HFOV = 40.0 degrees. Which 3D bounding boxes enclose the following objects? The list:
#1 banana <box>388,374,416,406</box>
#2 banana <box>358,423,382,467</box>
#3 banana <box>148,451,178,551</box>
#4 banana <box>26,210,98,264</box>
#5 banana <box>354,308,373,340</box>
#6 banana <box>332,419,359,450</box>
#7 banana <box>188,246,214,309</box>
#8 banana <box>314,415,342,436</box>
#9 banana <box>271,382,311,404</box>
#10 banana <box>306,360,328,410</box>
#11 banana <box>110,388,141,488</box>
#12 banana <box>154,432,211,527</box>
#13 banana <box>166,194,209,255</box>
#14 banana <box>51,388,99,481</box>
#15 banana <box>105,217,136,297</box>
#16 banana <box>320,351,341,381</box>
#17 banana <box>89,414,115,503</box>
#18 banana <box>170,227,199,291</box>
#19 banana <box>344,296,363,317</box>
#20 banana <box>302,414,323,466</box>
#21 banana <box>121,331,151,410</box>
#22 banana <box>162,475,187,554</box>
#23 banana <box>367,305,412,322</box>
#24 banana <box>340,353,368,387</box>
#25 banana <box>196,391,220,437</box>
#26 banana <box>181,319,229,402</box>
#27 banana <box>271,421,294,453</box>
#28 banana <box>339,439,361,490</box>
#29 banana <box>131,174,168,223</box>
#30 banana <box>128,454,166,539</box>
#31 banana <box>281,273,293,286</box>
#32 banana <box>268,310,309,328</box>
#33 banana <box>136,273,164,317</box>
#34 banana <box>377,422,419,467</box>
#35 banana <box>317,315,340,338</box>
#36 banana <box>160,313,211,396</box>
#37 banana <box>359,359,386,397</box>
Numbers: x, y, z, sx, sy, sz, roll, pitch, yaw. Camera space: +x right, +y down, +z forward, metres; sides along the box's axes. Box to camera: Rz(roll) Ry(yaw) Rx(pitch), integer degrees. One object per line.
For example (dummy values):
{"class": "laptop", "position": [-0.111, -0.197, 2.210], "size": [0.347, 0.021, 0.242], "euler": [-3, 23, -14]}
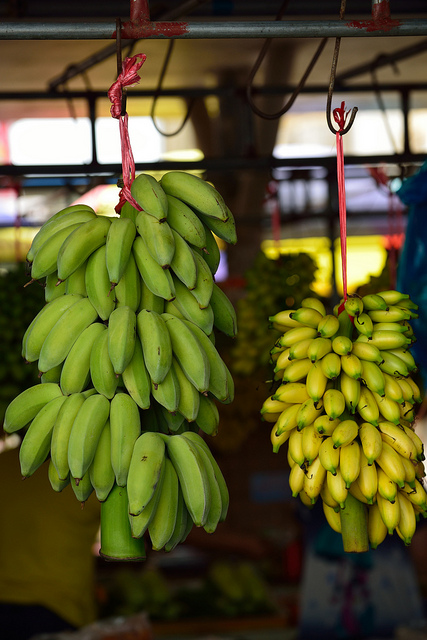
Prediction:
{"class": "banana", "position": [0.341, 0.126, 1.057], "size": [0.018, 0.064, 0.023], "euler": [-42, -1, -30]}
{"class": "banana", "position": [0.266, 0.202, 0.976], "size": [0.038, 0.028, 0.082], "euler": [-13, 40, 10]}
{"class": "banana", "position": [-0.073, 0.266, 0.875], "size": [0.042, 0.141, 0.043], "euler": [0, -16, -29]}
{"class": "banana", "position": [-0.260, -0.144, 1.034], "size": [0.134, 0.076, 0.035], "euler": [-38, 3, -27]}
{"class": "banana", "position": [0.259, 0.011, 1.016], "size": [0.021, 0.019, 0.061], "euler": [-18, 19, 7]}
{"class": "banana", "position": [0.216, 0.184, 0.951], "size": [0.030, 0.020, 0.054], "euler": [34, 50, 12]}
{"class": "banana", "position": [-0.028, -0.068, 0.945], "size": [0.031, 0.097, 0.029], "euler": [16, -36, -42]}
{"class": "banana", "position": [0.193, 0.174, 0.980], "size": [0.026, 0.024, 0.042], "euler": [-21, -2, 42]}
{"class": "banana", "position": [0.140, 0.131, 1.039], "size": [0.064, 0.021, 0.030], "euler": [-8, 10, -21]}
{"class": "banana", "position": [0.175, 0.109, 0.983], "size": [0.026, 0.080, 0.030], "euler": [-5, -31, 15]}
{"class": "banana", "position": [-0.138, 0.170, 0.838], "size": [0.042, 0.131, 0.041], "euler": [-17, -25, 25]}
{"class": "banana", "position": [-0.032, 0.238, 0.871], "size": [0.033, 0.126, 0.064], "euler": [-16, -6, -40]}
{"class": "banana", "position": [-0.032, -0.150, 0.967], "size": [0.051, 0.045, 0.165], "euler": [-2, 33, -16]}
{"class": "banana", "position": [-0.220, 0.164, 0.865], "size": [0.058, 0.130, 0.043], "euler": [30, -18, -19]}
{"class": "banana", "position": [-0.140, -0.099, 0.908], "size": [0.041, 0.125, 0.036], "euler": [4, -30, 19]}
{"class": "banana", "position": [0.197, 0.077, 0.969], "size": [0.027, 0.025, 0.046], "euler": [1, 17, 6]}
{"class": "banana", "position": [-0.164, 0.205, 0.866], "size": [0.037, 0.120, 0.039], "euler": [9, -7, -35]}
{"class": "banana", "position": [-0.057, -0.088, 0.889], "size": [0.032, 0.027, 0.090], "euler": [1, 43, -32]}
{"class": "banana", "position": [0.242, -0.022, 1.003], "size": [0.025, 0.022, 0.035], "euler": [-32, 24, 9]}
{"class": "banana", "position": [0.167, 0.204, 0.999], "size": [0.026, 0.086, 0.032], "euler": [11, 2, -34]}
{"class": "banana", "position": [-0.115, 0.072, 0.898], "size": [0.036, 0.126, 0.039], "euler": [-18, -13, 21]}
{"class": "banana", "position": [-0.073, 0.318, 0.943], "size": [0.032, 0.130, 0.050], "euler": [6, 12, 30]}
{"class": "banana", "position": [0.314, -0.008, 1.045], "size": [0.090, 0.030, 0.028], "euler": [-6, 15, 34]}
{"class": "banana", "position": [0.230, 0.082, 0.979], "size": [0.022, 0.056, 0.022], "euler": [-18, -19, -45]}
{"class": "banana", "position": [-0.013, 0.165, 1.015], "size": [0.040, 0.077, 0.026], "euler": [-27, 15, -39]}
{"class": "banana", "position": [-0.011, 0.053, 0.981], "size": [0.054, 0.154, 0.049], "euler": [-16, -9, -46]}
{"class": "banana", "position": [0.116, 0.217, 1.062], "size": [0.026, 0.068, 0.022], "euler": [4, 37, -33]}
{"class": "banana", "position": [0.219, 0.231, 0.962], "size": [0.028, 0.088, 0.028], "euler": [9, -40, -7]}
{"class": "banana", "position": [-0.107, -0.191, 0.917], "size": [0.050, 0.032, 0.091], "euler": [-15, 51, -23]}
{"class": "banana", "position": [-0.082, 0.248, 0.854], "size": [0.038, 0.129, 0.043], "euler": [19, -22, -11]}
{"class": "banana", "position": [0.332, -0.183, 2.633], "size": [0.025, 0.052, 0.043], "euler": [36, 24, -1]}
{"class": "banana", "position": [0.133, -0.004, 1.095], "size": [0.088, 0.026, 0.025], "euler": [8, 12, 25]}
{"class": "banana", "position": [-0.101, -0.032, 0.949], "size": [0.024, 0.086, 0.034], "euler": [5, 29, 24]}
{"class": "banana", "position": [0.311, 0.203, 0.985], "size": [0.031, 0.105, 0.033], "euler": [-45, 6, 31]}
{"class": "banana", "position": [0.197, 0.011, 1.026], "size": [0.029, 0.025, 0.042], "euler": [28, -31, -8]}
{"class": "banana", "position": [-0.030, 0.047, 0.912], "size": [0.047, 0.137, 0.046], "euler": [-25, -6, -2]}
{"class": "banana", "position": [0.271, 0.096, 0.985], "size": [0.026, 0.071, 0.023], "euler": [-36, -27, -6]}
